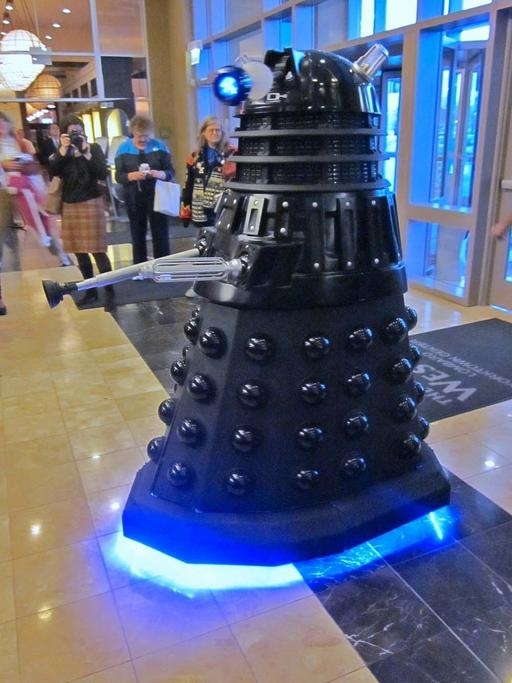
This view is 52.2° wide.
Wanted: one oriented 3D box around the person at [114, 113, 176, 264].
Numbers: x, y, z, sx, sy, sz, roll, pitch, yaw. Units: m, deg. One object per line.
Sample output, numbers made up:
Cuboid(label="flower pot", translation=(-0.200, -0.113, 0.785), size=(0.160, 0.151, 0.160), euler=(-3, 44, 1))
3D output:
Cuboid(label="person", translation=(-1.009, -1.366, 4.790), size=(0.533, 1.300, 0.461), euler=(-7, 19, -10))

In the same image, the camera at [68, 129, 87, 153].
Cuboid(label="camera", translation=(-1.410, -1.594, 4.108), size=(0.137, 0.125, 0.054), euler=(-2, 14, -23))

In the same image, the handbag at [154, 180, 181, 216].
Cuboid(label="handbag", translation=(-0.812, -1.284, 4.664), size=(0.242, 0.314, 0.295), euler=(-6, 18, -9))

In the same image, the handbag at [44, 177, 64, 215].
Cuboid(label="handbag", translation=(-1.701, -1.217, 4.373), size=(0.119, 0.264, 0.227), euler=(-4, 43, -24))
